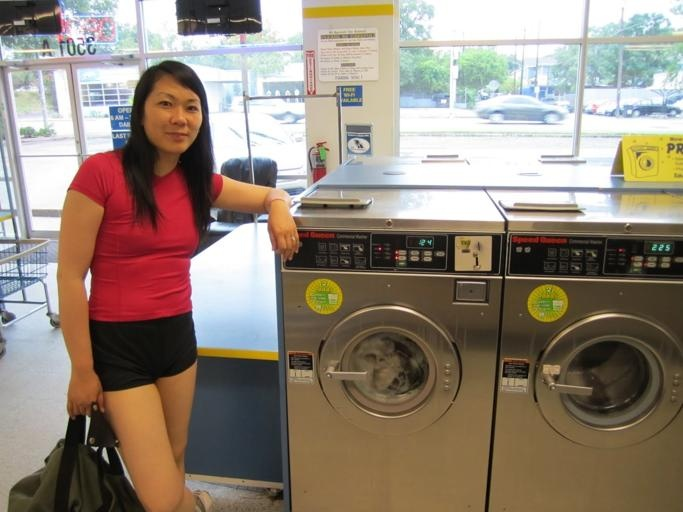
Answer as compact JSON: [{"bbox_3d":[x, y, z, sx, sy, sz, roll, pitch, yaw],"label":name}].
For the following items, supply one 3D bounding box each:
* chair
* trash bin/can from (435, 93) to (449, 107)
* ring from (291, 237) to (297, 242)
[{"bbox_3d":[-1.002,-0.774,6.169,0.686,0.935,0.793,2,9,5],"label":"chair"},{"bbox_3d":[1.168,-1.789,6.148,0.140,0.137,0.134,1,0,5],"label":"trash bin/can"},{"bbox_3d":[-0.175,-0.066,1.989,0.015,0.006,0.020,-3,27,-9],"label":"ring"}]
